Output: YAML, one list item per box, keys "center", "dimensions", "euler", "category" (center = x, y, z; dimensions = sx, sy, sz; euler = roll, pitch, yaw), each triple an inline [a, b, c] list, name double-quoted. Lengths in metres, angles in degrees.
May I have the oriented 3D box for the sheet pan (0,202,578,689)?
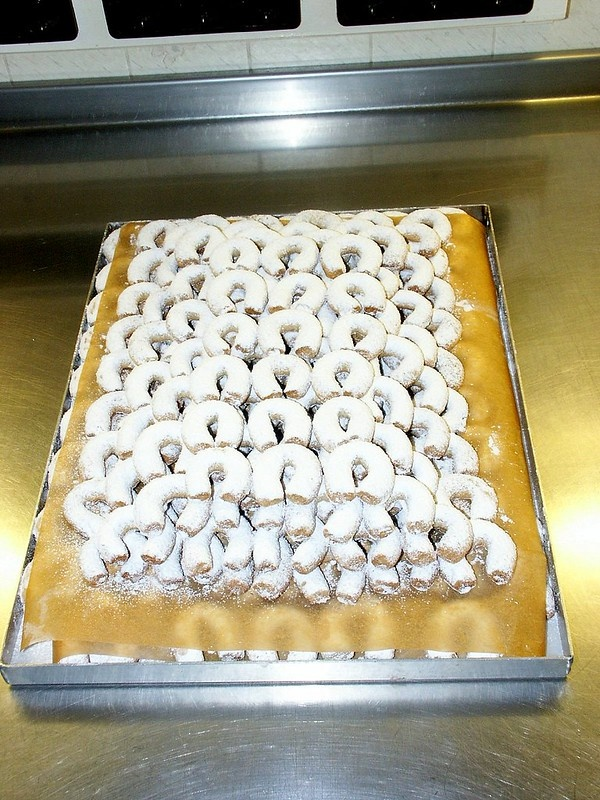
- center: [-0.004, 0.079, 0.909]
  dimensions: [0.646, 0.267, 0.562]
  euler: [-6, 26, 4]
  category: "sheet pan"
